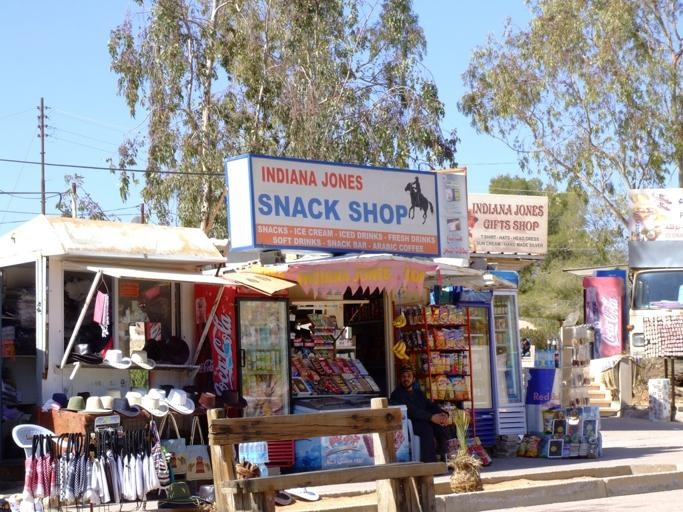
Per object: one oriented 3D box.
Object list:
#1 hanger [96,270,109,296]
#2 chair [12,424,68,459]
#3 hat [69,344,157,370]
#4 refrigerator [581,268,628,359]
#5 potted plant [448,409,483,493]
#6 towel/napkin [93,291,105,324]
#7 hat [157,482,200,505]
[{"bbox_3d":[-3.795,0.443,15.051,0.211,0.262,0.457,-2,-9,-15],"label":"hanger"},{"bbox_3d":[-3.945,2.387,12.206,0.564,0.411,0.963,-1,-9,-21],"label":"chair"},{"bbox_3d":[-3.449,1.580,14.176,1.219,0.291,0.475,-3,-8,-9],"label":"hat"},{"bbox_3d":[7.461,1.705,26.533,1.102,2.261,0.808,-6,-7,20],"label":"refrigerator"},{"bbox_3d":[1.808,2.894,13.903,0.477,1.153,1.053,-4,-8,7],"label":"potted plant"},{"bbox_3d":[-3.520,0.758,13.740,0.165,0.493,0.412,0,-8,-23],"label":"towel/napkin"},{"bbox_3d":[-2.190,3.263,12.754,0.361,0.154,0.344,-3,-7,-1],"label":"hat"}]
